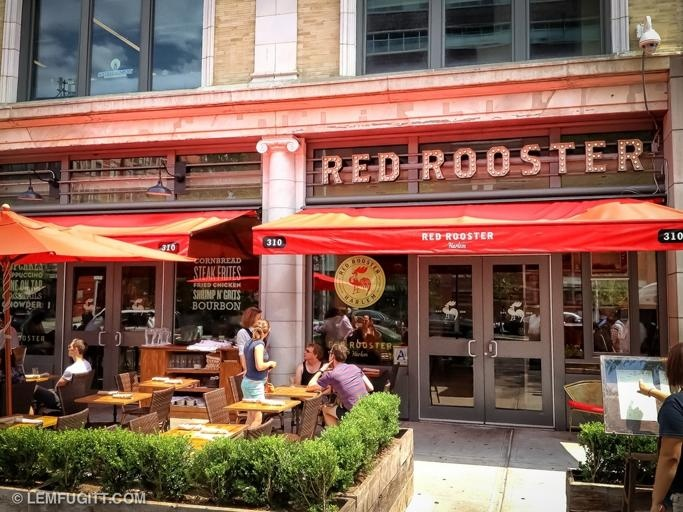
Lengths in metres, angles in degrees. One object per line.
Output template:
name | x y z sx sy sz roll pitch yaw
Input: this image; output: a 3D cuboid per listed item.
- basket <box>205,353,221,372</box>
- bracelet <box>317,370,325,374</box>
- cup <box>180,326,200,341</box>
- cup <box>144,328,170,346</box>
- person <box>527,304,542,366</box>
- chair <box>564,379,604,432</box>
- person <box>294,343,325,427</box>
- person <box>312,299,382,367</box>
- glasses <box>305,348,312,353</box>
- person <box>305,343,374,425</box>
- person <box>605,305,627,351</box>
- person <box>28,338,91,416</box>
basket | -2.491 2.047 14.212 0.320 0.277 0.315 1 -9 -10
bracelet | -0.340 1.924 12.168 0.078 0.076 0.080 7 -6 -44
cup | -3.062 1.571 14.871 0.358 0.265 0.289 0 -8 22
cup | -3.751 1.645 14.893 0.385 0.257 0.369 0 -6 0
person | 3.491 1.474 13.201 0.147 1.059 0.323 2 7 -30
chair | 4.071 2.506 12.119 0.760 0.692 0.775 8 -3 -30
person | -0.527 2.007 12.662 0.583 0.959 0.606 0 2 -17
person | 0.151 1.439 14.070 1.070 0.709 1.166 1 -2 16
glasses | -0.566 1.617 12.540 0.079 0.117 0.097 14 11 -28
person | -0.038 2.157 11.149 0.999 1.436 0.693 3 5 19
person | 4.854 1.297 12.858 0.404 0.751 0.114 8 7 20
person | -4.749 2.178 12.278 0.970 1.614 0.649 8 4 2
